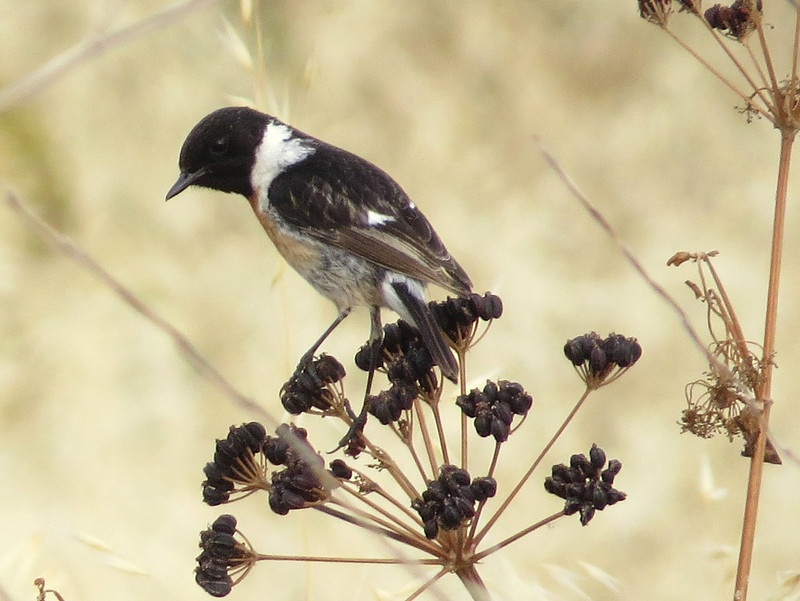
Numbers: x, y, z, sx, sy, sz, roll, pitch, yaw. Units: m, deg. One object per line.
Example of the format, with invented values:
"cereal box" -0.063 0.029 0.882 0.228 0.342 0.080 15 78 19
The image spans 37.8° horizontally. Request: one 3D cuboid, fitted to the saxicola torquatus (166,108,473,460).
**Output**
"saxicola torquatus" -0.530 -0.239 7.754 1.848 0.875 1.940 3 -86 2
